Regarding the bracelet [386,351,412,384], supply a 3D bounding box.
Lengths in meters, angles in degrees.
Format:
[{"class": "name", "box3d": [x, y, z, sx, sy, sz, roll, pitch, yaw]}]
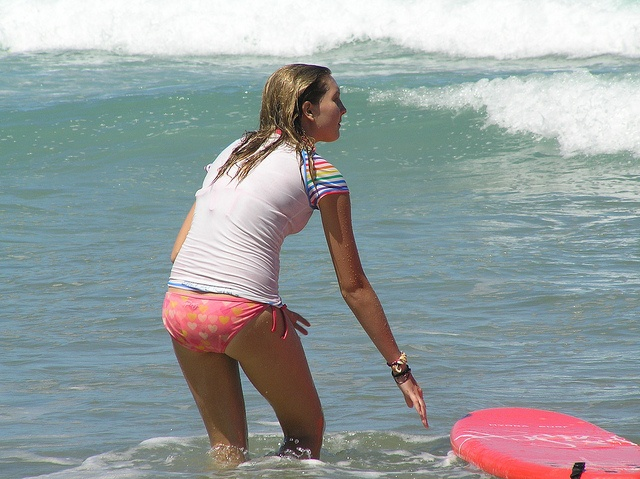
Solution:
[{"class": "bracelet", "box3d": [0.742, 1.203, 11.291, 0.330, 0.257, 0.165, 3, -6, -6]}]
